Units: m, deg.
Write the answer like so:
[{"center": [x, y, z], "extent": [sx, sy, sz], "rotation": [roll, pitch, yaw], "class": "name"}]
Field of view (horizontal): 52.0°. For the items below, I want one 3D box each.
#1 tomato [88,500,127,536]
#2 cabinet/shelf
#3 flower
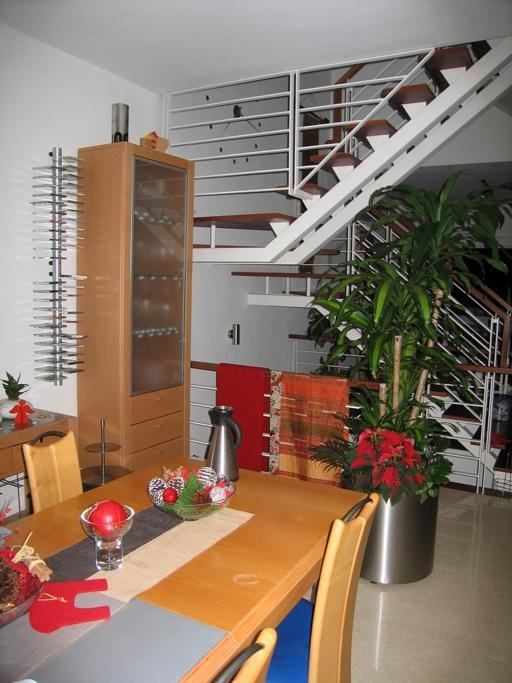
[{"center": [-0.343, 0.401, 1.216], "extent": [0.087, 0.054, 0.115], "rotation": [1, 3, -12], "class": "tomato"}, {"center": [-0.765, -0.190, 3.233], "extent": [0.456, 1.881, 0.626], "rotation": [4, 4, 30], "class": "cabinet/shelf"}, {"center": [0.608, 0.548, 2.585], "extent": [0.625, 0.486, 0.589], "rotation": [4, 33, 6], "class": "flower"}]
